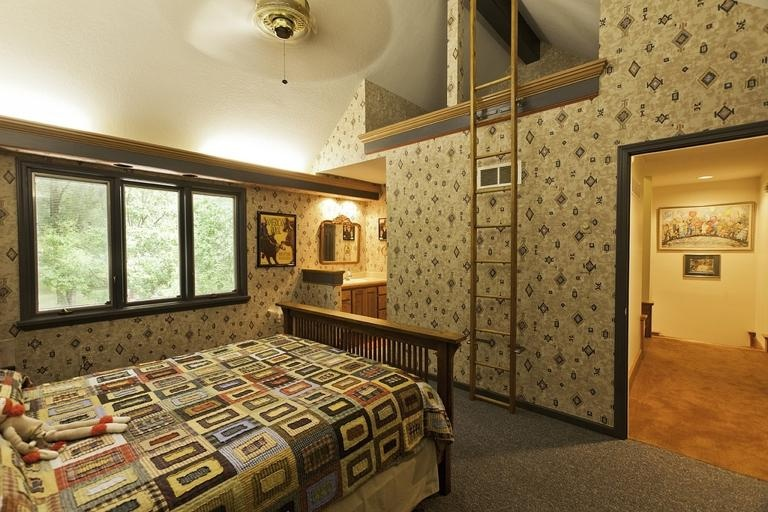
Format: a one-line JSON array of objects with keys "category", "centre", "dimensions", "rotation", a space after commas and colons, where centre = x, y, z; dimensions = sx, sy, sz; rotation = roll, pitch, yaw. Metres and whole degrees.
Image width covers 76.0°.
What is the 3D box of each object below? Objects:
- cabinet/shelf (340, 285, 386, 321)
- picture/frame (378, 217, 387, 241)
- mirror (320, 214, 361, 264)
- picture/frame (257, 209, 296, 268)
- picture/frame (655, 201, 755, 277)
[{"category": "cabinet/shelf", "centre": [-0.361, 0.691, 7.589], "dimensions": [0.206, 0.552, 0.604], "rotation": [5, 6, 45]}, {"category": "picture/frame", "centre": [-0.049, -0.498, 8.961], "dimensions": [0.155, 0.408, 0.042], "rotation": [3, 2, 40]}, {"category": "mirror", "centre": [-0.806, -0.329, 8.659], "dimensions": [0.046, 0.750, 0.907], "rotation": [3, 2, 34]}, {"category": "picture/frame", "centre": [-1.726, -0.295, 7.718], "dimensions": [0.075, 1.084, 0.937], "rotation": [4, 2, 43]}, {"category": "picture/frame", "centre": [5.209, -0.287, 7.867], "dimensions": [1.232, 1.255, 0.049], "rotation": [1, -1, 37]}]
